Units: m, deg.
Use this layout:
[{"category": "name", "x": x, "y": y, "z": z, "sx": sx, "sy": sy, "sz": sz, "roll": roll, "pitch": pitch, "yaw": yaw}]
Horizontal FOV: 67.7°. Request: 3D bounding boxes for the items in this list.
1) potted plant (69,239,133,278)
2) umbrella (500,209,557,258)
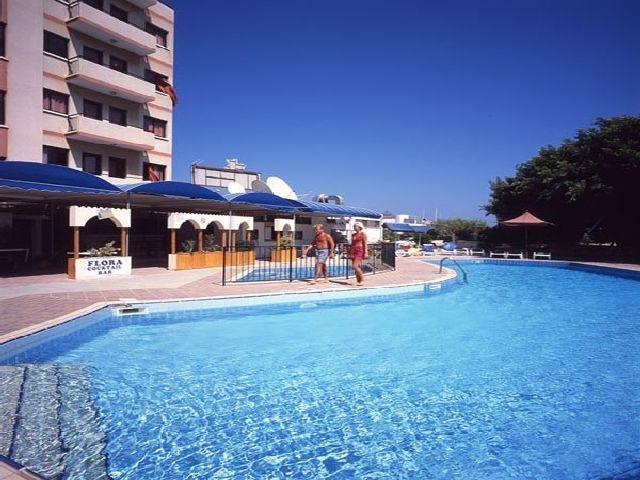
[{"category": "potted plant", "x": -7.890, "y": 0.641, "z": 16.950, "sx": 1.668, "sy": 0.846, "sz": 0.562, "roll": 1, "pitch": -4, "yaw": -45}, {"category": "umbrella", "x": 13.173, "y": -0.477, "z": 29.657, "sx": 3.216, "sy": 2.419, "sz": 2.453, "roll": -1, "pitch": 2, "yaw": -7}]
